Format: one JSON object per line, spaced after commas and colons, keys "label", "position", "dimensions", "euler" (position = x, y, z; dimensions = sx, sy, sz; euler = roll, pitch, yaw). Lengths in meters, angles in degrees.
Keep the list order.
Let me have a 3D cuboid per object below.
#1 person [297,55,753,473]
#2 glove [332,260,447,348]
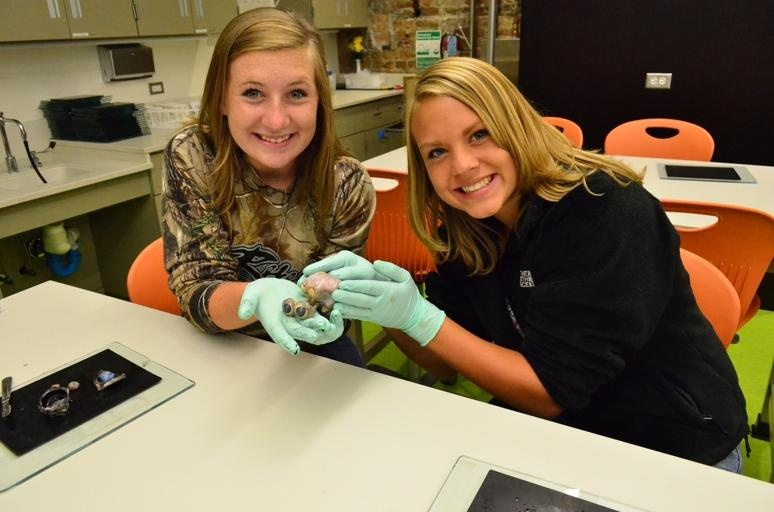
{"label": "person", "position": [0.453, 0.012, 1.562], "dimensions": [1.210, 1.025, 0.479], "euler": [7, 27, 11]}
{"label": "glove", "position": [0.010, 0.147, 1.694], "dimensions": [0.314, 0.181, 0.198], "euler": [17, 18, -26]}
